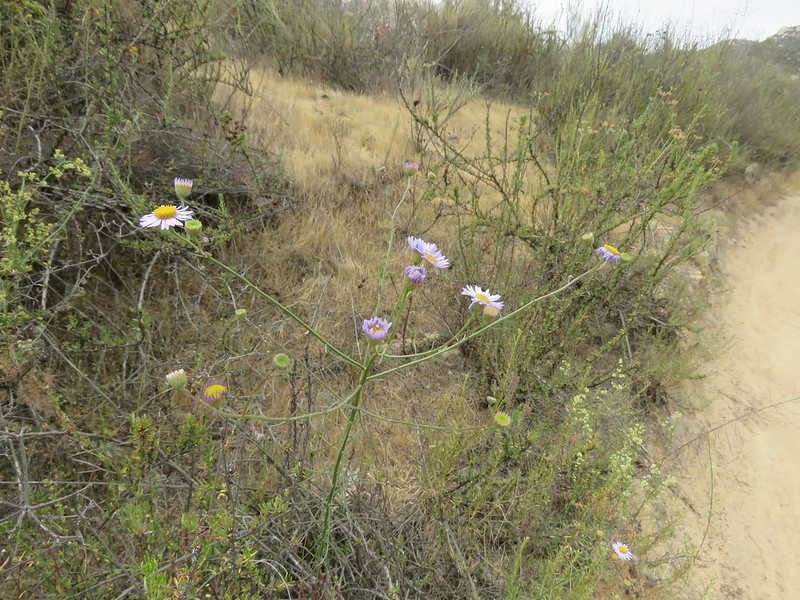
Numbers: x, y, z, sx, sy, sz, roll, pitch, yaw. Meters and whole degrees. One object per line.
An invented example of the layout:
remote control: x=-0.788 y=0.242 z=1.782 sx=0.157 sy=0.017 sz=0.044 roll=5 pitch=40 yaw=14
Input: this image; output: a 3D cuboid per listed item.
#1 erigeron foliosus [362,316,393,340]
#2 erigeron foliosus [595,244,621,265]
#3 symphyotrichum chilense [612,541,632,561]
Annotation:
erigeron foliosus: x=-0.139 y=0.157 z=3.657 sx=0.126 sy=0.100 sz=0.135 roll=-4 pitch=27 yaw=-26
erigeron foliosus: x=1.414 y=-0.318 z=4.173 sx=0.152 sy=0.083 sz=0.150 roll=39 pitch=32 yaw=24
symphyotrichum chilense: x=1.565 y=1.777 z=4.353 sx=0.118 sy=0.032 sz=0.125 roll=-22 pitch=51 yaw=-42
